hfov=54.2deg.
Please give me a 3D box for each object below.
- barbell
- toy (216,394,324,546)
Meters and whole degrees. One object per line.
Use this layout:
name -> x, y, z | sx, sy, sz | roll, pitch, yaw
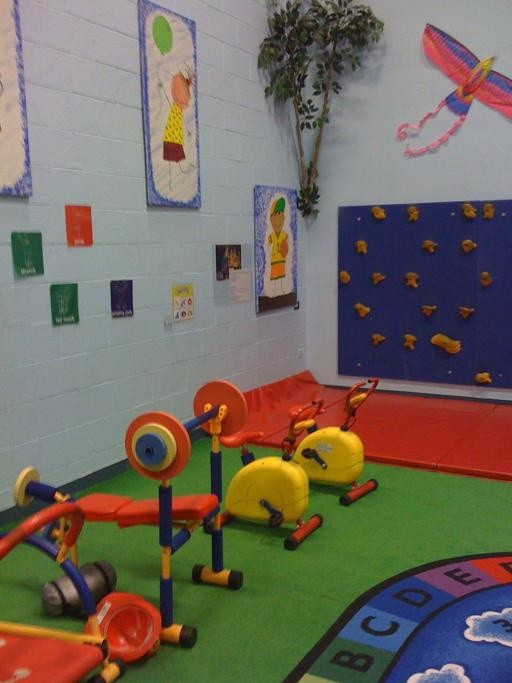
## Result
barbell -> -0.175, 0.227, 1.389 | 0.158, 0.183, 0.420 | 4, 10, 21
toy -> 0.067, 0.525, 2.062 | 0.321, 0.487, 0.376 | 7, 15, 17
